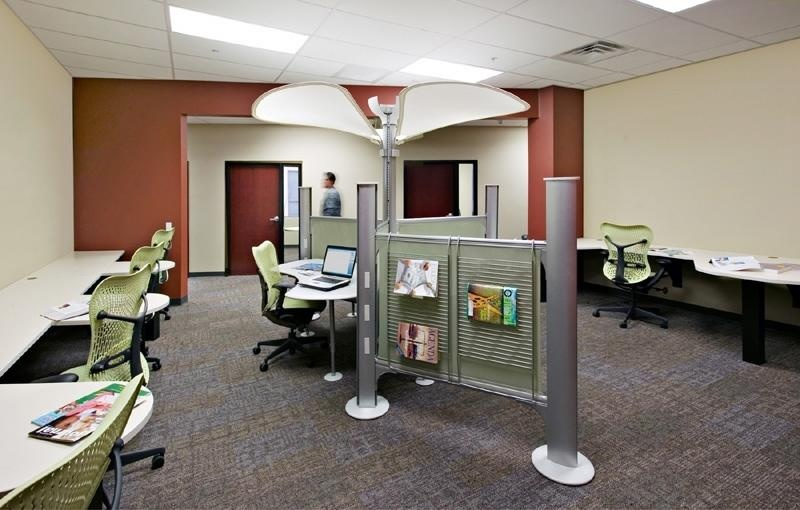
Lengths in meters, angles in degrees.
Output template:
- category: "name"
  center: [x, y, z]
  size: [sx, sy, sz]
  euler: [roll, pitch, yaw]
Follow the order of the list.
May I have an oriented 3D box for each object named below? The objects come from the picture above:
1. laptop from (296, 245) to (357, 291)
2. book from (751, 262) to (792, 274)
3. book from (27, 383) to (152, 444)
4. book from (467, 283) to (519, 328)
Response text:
- category: "laptop"
  center: [-0.669, 0.144, 4.539]
  size: [0.421, 0.305, 0.446]
  euler: [-9, 11, -43]
- category: "book"
  center: [3.567, 0.126, 4.643]
  size: [0.252, 0.019, 0.638]
  euler: [7, 13, 36]
- category: "book"
  center: [-1.750, 0.884, 2.689]
  size: [0.464, 0.166, 0.293]
  euler: [-9, 13, -37]
- category: "book"
  center: [0.680, 0.359, 3.502]
  size: [0.339, 0.241, 0.044]
  euler: [3, 1, 32]
